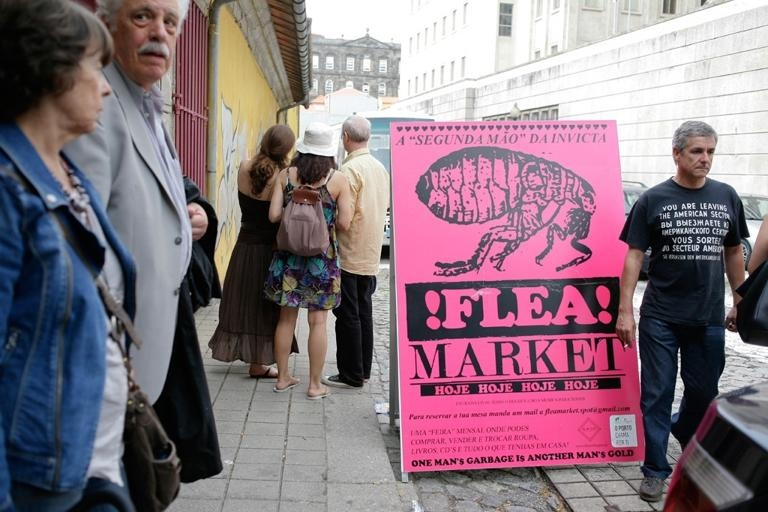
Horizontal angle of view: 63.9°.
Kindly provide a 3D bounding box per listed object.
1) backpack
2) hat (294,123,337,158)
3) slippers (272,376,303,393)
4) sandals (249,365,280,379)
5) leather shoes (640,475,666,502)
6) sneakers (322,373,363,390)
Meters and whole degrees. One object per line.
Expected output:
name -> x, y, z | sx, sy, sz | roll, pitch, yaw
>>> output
backpack -> -0.654, -0.276, 4.982 | 0.395, 0.516, 0.190 | 1, 8, -12
hat -> -0.574, -0.996, 5.257 | 0.333, 0.296, 0.501 | 2, 8, -8
slippers -> -0.857, 1.118, 5.495 | 0.088, 0.120, 0.270 | 6, 13, 31
sandals -> -1.123, 1.094, 5.819 | 0.280, 0.110, 0.129 | 0, 2, -12
leather shoes -> 1.703, 1.470, 3.898 | 0.160, 0.129, 0.139 | 5, 8, 13
sneakers -> -0.380, 1.152, 5.725 | 0.357, 0.151, 0.143 | 11, -4, 19
